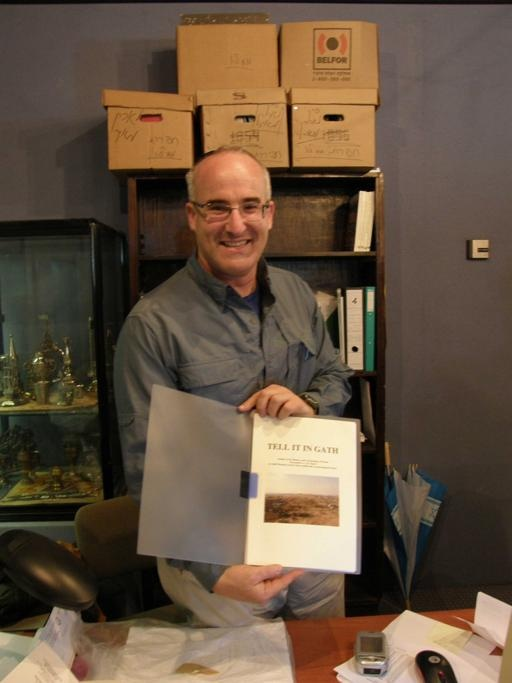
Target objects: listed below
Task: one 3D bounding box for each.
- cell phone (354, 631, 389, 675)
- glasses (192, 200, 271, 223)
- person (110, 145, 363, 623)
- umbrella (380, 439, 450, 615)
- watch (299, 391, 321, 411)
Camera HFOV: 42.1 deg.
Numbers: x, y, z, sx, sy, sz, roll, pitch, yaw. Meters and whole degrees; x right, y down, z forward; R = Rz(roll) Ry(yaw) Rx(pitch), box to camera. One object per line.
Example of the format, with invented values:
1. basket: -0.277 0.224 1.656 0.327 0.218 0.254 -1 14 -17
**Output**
1. cell phone: 0.248 0.666 1.419 0.068 0.044 0.090 1 13 9
2. glasses: -0.061 -0.351 1.789 0.203 0.054 0.087 -2 13 -8
3. person: -0.057 0.211 1.832 0.594 1.438 0.885 3 14 16
4. umbrella: 0.611 0.709 2.656 0.219 0.578 0.206 -12 17 -36
5. watch: 0.156 0.164 1.785 0.054 0.019 0.040 23 29 -40
